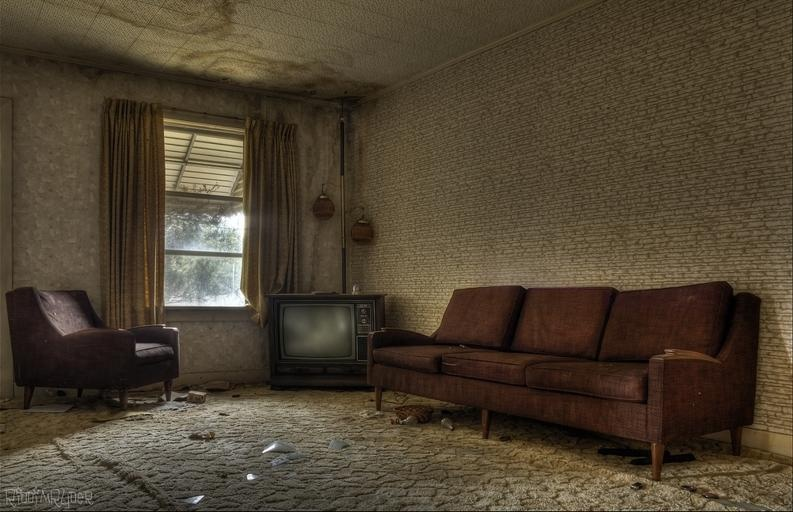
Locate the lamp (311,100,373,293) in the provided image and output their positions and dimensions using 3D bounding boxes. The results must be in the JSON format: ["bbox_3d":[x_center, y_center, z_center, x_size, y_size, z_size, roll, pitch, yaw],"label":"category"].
[{"bbox_3d":[-0.706,-0.728,6.690,0.597,2.349,0.320,2,0,-7],"label":"lamp"}]

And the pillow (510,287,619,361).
[{"bbox_3d":[1.338,0.535,4.353,0.169,0.546,0.702,31,-15,-38],"label":"pillow"}]

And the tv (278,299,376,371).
[{"bbox_3d":[-0.714,0.808,5.990,1.392,0.647,0.696,-1,-6,6],"label":"tv"}]

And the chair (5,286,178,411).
[{"bbox_3d":[-2.799,0.787,5.388,1.752,1.120,1.080,-2,-5,10],"label":"chair"}]

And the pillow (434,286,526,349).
[{"bbox_3d":[0.789,0.523,4.810,0.765,0.550,0.187,2,-33,44],"label":"pillow"}]

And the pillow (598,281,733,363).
[{"bbox_3d":[1.934,0.470,3.992,0.464,0.505,0.866,5,-10,-31],"label":"pillow"}]
